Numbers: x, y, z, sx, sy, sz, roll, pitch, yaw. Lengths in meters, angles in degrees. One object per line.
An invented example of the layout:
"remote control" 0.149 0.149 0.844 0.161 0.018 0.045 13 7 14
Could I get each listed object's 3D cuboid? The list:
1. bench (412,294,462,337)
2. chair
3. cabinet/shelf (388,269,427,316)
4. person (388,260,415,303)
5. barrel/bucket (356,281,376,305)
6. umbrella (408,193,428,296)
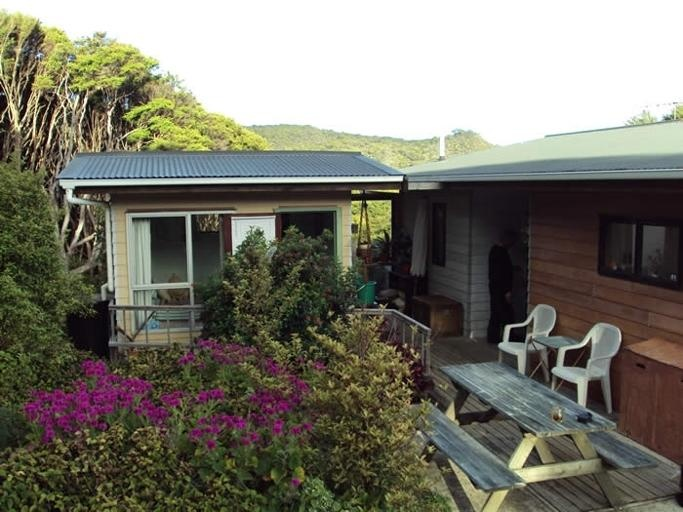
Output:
"bench" 1.958 1.195 10.884 0.617 0.796 1.267 -2 -5 2
"chair" 2.857 1.310 7.166 0.427 0.687 1.240 0 5 -14
"cabinet/shelf" 1.569 0.701 12.347 0.488 1.245 1.282 11 0 3
"person" 1.314 0.541 12.147 0.293 0.557 0.857 0 3 -7
"barrel/bucket" 0.412 0.625 9.578 0.360 0.318 0.398 0 4 -8
"umbrella" 1.651 -0.198 11.578 0.342 1.994 0.626 -1 3 -22
